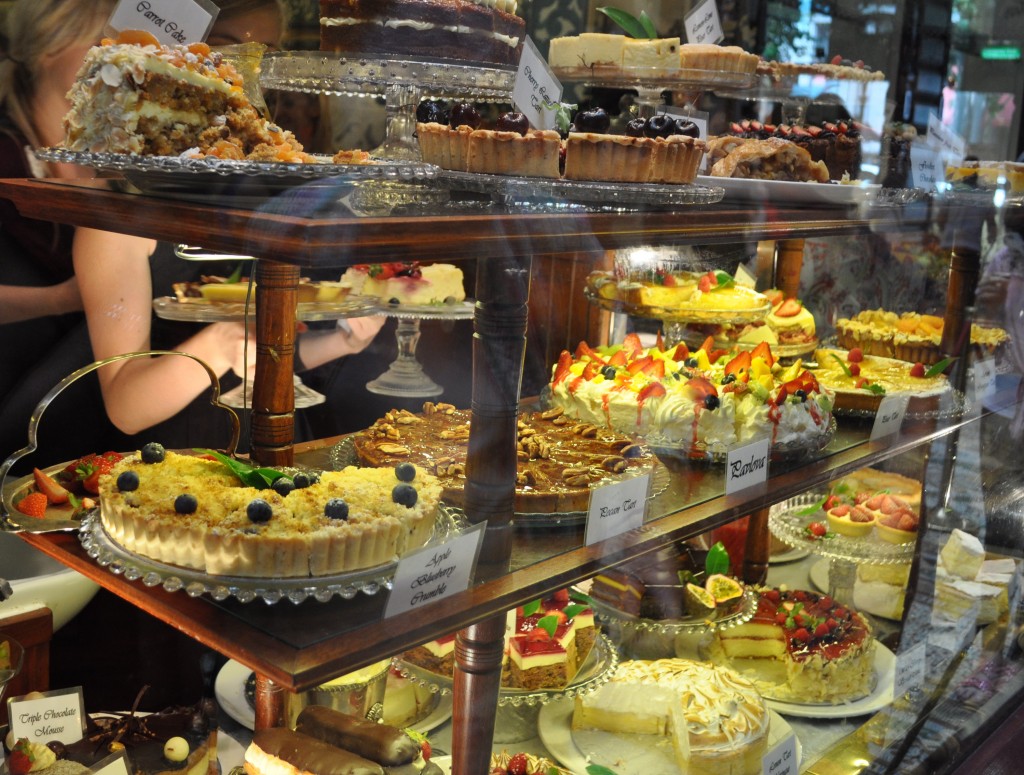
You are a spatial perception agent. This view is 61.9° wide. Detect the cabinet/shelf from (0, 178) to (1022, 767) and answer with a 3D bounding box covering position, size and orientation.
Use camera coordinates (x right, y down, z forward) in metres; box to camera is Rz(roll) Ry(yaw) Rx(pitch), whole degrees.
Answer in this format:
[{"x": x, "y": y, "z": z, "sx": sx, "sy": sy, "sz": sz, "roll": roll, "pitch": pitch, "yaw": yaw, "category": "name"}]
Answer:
[{"x": -0.020, "y": 0.210, "z": 2.029, "sx": 2.103, "sy": 0.959, "sz": 0.691, "roll": -10, "pitch": 15, "yaw": -42, "category": "cabinet/shelf"}]
